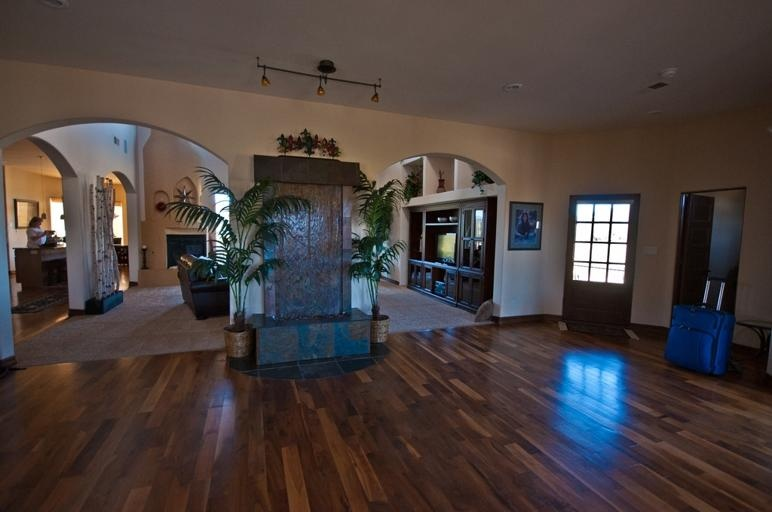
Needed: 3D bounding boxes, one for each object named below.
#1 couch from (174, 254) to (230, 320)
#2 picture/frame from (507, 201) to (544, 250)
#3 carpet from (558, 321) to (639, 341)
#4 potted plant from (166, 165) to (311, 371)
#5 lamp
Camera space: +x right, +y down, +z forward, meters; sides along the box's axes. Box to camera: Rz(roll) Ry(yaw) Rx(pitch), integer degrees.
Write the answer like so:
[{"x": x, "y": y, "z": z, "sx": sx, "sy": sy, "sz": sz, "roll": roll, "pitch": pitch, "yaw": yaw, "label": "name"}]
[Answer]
[{"x": -3.198, "y": 0.679, "z": 8.441, "sx": 0.959, "sy": 1.187, "sz": 1.655, "roll": -3, "pitch": 8, "yaw": -29, "label": "couch"}, {"x": 2.334, "y": -0.531, "z": 8.011, "sx": 0.790, "sy": 1.009, "sz": 0.038, "roll": 0, "pitch": 1, "yaw": -26, "label": "picture/frame"}, {"x": 3.455, "y": 1.213, "z": 7.667, "sx": 1.147, "sy": 0.020, "sz": 0.574, "roll": 5, "pitch": 11, "yaw": 20, "label": "carpet"}, {"x": -1.986, "y": 0.189, "z": 6.494, "sx": 1.718, "sy": 2.481, "sz": 1.287, "roll": 1, "pitch": 9, "yaw": -16, "label": "potted plant"}, {"x": -0.855, "y": -2.302, "z": 6.167, "sx": 1.610, "sy": 0.392, "sz": 0.792, "roll": 0, "pitch": 11, "yaw": -6, "label": "lamp"}]
